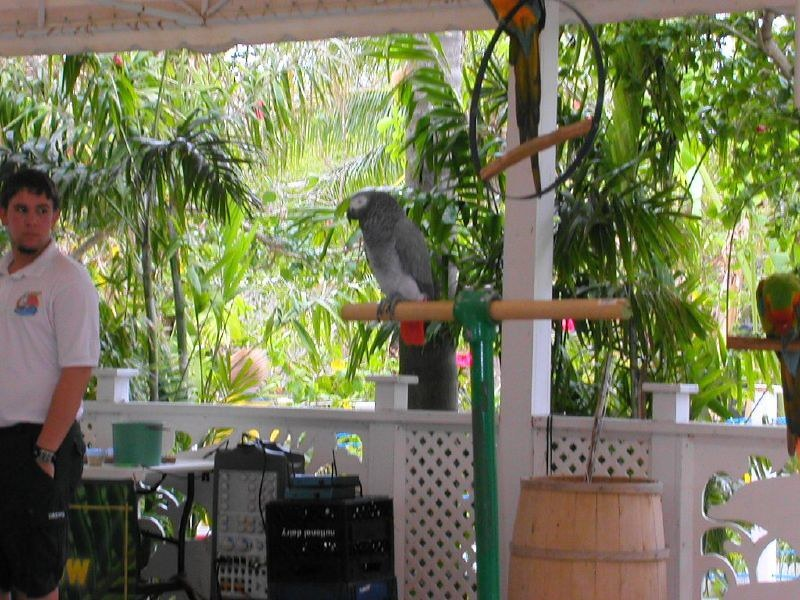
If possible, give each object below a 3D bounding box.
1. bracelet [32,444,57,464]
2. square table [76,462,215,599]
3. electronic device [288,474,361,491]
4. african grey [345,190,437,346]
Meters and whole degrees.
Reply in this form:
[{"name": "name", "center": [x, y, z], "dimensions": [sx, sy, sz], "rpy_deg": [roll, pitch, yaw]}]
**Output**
[{"name": "bracelet", "center": [-1.449, 0.620, 5.016], "dimensions": [0.057, 0.045, 0.066], "rpy_deg": [15, -18, -5]}, {"name": "square table", "center": [-1.213, 1.039, 5.912], "dimensions": [0.552, 0.748, 0.598], "rpy_deg": [1, -1, -5]}, {"name": "electronic device", "center": [-0.346, 0.817, 5.601], "dimensions": [0.326, 0.058, 0.189], "rpy_deg": [2, -8, -13]}, {"name": "african grey", "center": [-0.028, -0.221, 6.047], "dimensions": [0.447, 0.782, 0.303], "rpy_deg": [-17, 22, -39]}]
